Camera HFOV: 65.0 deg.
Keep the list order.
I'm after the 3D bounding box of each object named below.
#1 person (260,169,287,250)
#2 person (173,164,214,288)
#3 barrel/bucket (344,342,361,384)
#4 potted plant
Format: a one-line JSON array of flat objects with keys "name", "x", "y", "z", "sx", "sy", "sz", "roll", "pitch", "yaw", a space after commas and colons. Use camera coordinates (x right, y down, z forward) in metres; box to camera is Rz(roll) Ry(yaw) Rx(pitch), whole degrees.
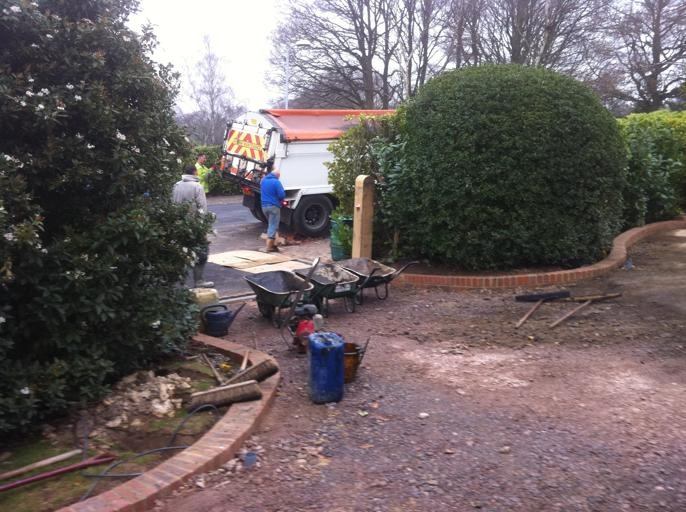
[{"name": "person", "x": -1.806, "y": -1.228, "z": 14.212, "sx": 0.581, "sy": 2.124, "sz": 1.068, "roll": -5, "pitch": 9, "yaw": -7}, {"name": "person", "x": -2.919, "y": -0.654, "z": 10.563, "sx": 1.279, "sy": 2.518, "sz": 1.563, "roll": 0, "pitch": 1, "yaw": -18}, {"name": "barrel/bucket", "x": 0.123, "y": 1.293, "z": 6.524, "sx": 0.217, "sy": 0.446, "sz": 0.349, "roll": -4, "pitch": 8, "yaw": 1}, {"name": "potted plant", "x": 0.225, "y": -1.579, "z": 12.480, "sx": 1.277, "sy": 3.315, "sz": 0.968, "roll": -2, "pitch": 9, "yaw": 9}]
